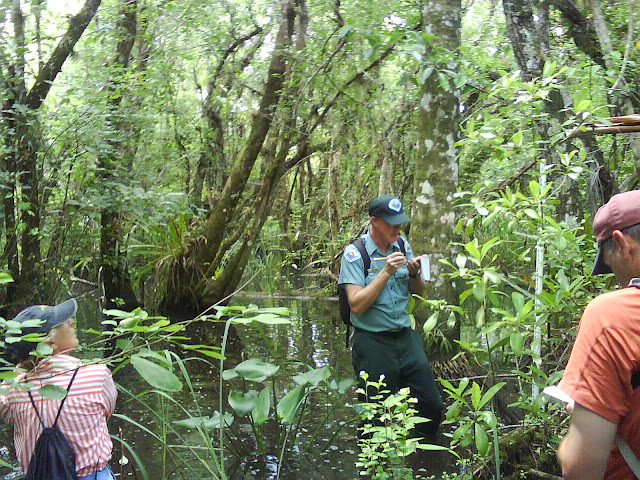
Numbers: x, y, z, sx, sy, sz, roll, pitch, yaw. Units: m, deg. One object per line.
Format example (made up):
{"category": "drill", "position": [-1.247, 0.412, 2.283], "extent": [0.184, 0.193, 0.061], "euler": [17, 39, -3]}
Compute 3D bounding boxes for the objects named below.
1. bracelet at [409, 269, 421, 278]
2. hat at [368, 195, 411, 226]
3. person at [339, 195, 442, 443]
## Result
{"category": "bracelet", "position": [0.783, 0.290, 5.539], "extent": [0.078, 0.084, 0.054], "euler": [-10, 31, -8]}
{"category": "hat", "position": [0.577, -0.244, 5.441], "extent": [0.301, 0.173, 0.213], "euler": [17, 18, 35]}
{"category": "person", "position": [0.570, 0.562, 5.519], "extent": [0.750, 1.248, 0.600], "euler": [7, -3, -39]}
